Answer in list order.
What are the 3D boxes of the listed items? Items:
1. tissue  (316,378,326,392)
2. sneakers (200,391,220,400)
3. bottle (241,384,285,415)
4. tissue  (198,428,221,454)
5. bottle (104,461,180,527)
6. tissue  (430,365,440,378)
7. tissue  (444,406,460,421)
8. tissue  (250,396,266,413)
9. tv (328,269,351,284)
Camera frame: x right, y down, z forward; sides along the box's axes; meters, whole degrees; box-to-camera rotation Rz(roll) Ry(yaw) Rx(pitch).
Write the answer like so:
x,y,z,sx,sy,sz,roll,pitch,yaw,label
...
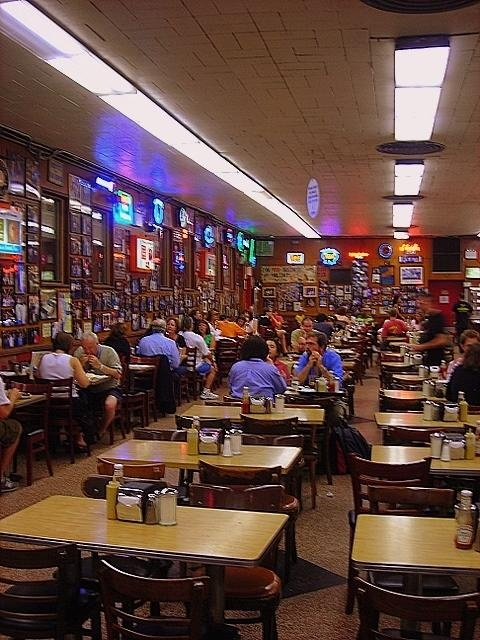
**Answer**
x,y,z,sx,sy,sz,roll,pitch,yaw,label
0.923,0.752,6.010,0.131,0.215,0.125,0,3,4,tissue 
-0.625,1.476,10.147,0.420,0.168,0.135,1,2,7,sneakers
0.177,0.699,4.659,0.272,0.243,0.265,1,0,6,bottle
-0.193,0.785,3.318,0.128,0.131,0.209,1,3,7,tissue 
-0.379,0.702,2.118,0.311,0.197,0.182,0,0,22,bottle
2.539,0.683,6.711,0.145,0.140,0.156,1,-2,-5,tissue 
1.786,0.777,4.429,0.125,0.141,0.143,6,11,30,tissue 
0.152,0.766,4.625,0.173,0.151,0.120,2,6,6,tissue 
4.329,-1.906,22.358,0.702,0.513,0.071,1,3,8,tv
